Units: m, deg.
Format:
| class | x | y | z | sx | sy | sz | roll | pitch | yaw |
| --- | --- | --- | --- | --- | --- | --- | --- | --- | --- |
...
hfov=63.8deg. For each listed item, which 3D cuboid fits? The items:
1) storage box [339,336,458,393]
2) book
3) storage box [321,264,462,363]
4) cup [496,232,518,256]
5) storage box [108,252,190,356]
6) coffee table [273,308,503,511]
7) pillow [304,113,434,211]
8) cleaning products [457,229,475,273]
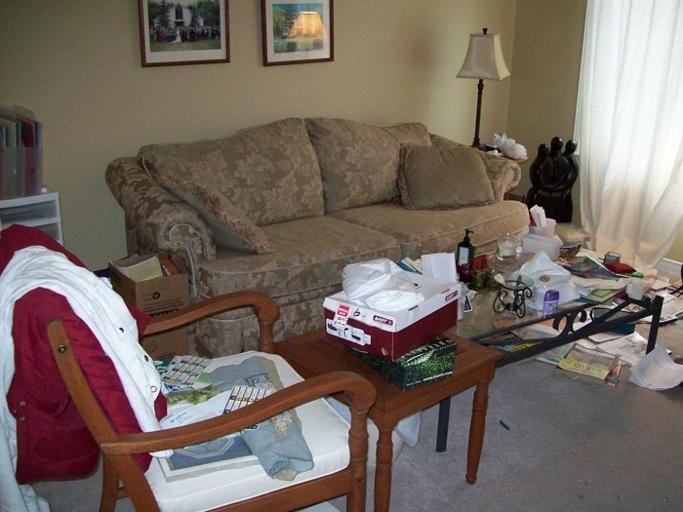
| class | x | y | z | sx | sy | sz | roll | pitch | yaw |
| --- | --- | --- | --- | --- | --- | --- | --- | --- | --- |
| storage box | 0.227 | 0.357 | 1.924 | 0.211 | 0.078 | 0.199 | -15 | 20 | -39 |
| book | 1.317 | 0.577 | 2.981 | 0.221 | 0.060 | 0.227 | 12 | 21 | 34 |
| storage box | 0.178 | 0.106 | 1.944 | 0.363 | 0.231 | 0.367 | -19 | 25 | -39 |
| cup | 0.819 | -0.057 | 2.772 | 0.108 | 0.113 | 0.105 | -2 | 16 | 1 |
| storage box | -0.821 | 0.211 | 2.362 | 0.269 | 0.492 | 0.279 | -20 | 37 | -30 |
| coffee table | 0.215 | 0.515 | 2.218 | 0.732 | 0.604 | 0.716 | -20 | 32 | -35 |
| pillow | 0.172 | -0.614 | 3.750 | 0.743 | 0.410 | 0.210 | -11 | 10 | -37 |
| cleaning products | 0.622 | -0.026 | 2.762 | 0.083 | 0.226 | 0.078 | 4 | 15 | 15 |
